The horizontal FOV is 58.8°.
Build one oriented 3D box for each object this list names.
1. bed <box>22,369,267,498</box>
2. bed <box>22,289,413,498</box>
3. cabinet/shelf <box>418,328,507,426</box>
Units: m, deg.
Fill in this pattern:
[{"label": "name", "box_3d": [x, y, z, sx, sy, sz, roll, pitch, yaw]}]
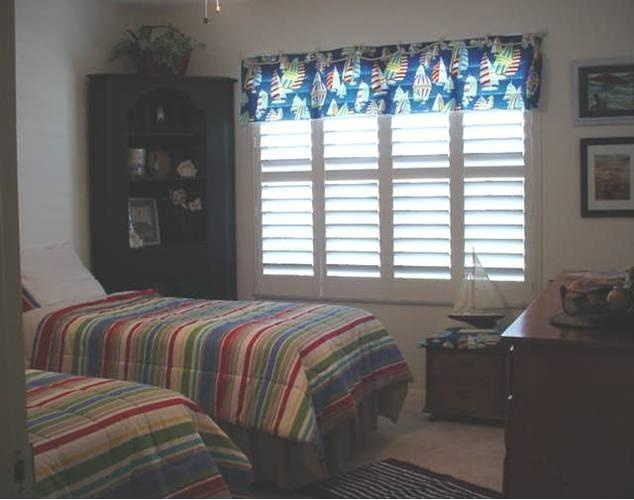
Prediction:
[{"label": "bed", "box_3d": [-0.565, 0.509, 1.515, 0.571, 0.165, 0.412, 1, 1, 31]}, {"label": "bed", "box_3d": [-0.478, 0.445, 2.376, 1.272, 0.453, 0.804, 0, 3, 22]}, {"label": "cabinet/shelf", "box_3d": [0.724, 0.620, 2.783, 0.400, 0.429, 0.241, 3, 10, 20]}]
